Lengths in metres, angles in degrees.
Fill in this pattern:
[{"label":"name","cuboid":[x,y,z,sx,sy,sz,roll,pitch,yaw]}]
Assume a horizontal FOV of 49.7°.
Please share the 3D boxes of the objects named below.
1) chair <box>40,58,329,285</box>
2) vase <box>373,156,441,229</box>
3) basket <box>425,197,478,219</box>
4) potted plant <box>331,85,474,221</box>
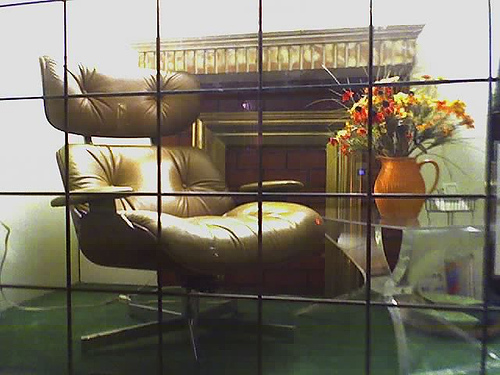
[{"label":"chair","cuboid":[-0.381,-0.103,2.891,1.280,1.307,1.443,-2,1,-43]},{"label":"vase","cuboid":[0.818,0.019,2.829,0.335,0.365,0.273,1,-4,11]},{"label":"basket","cuboid":[1.008,0.084,2.719,0.235,0.105,0.123,2,5,17]},{"label":"potted plant","cuboid":[0.755,-0.222,3.002,0.693,0.787,0.633,1,-1,-7]}]
